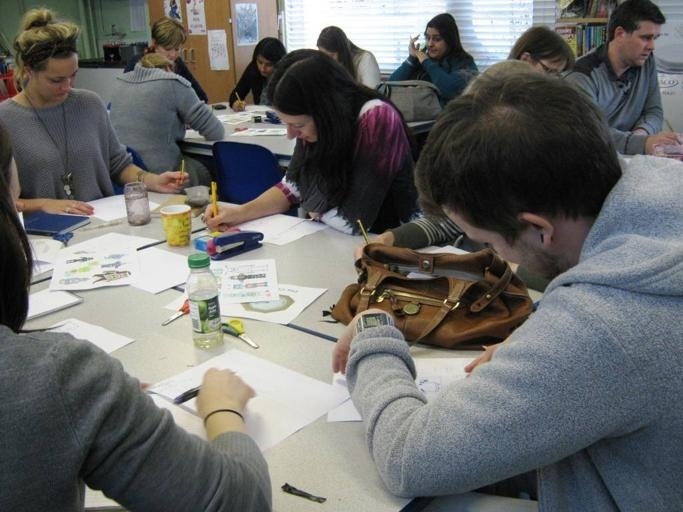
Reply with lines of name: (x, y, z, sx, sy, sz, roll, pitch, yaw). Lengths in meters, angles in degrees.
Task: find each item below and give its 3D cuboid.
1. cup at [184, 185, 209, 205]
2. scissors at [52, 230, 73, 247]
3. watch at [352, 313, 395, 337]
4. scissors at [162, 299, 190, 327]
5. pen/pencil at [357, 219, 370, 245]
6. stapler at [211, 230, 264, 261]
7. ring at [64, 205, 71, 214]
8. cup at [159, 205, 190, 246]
cup: (-0.698, -0.291, 2.446, 0.091, 0.076, 0.112, -1, 16, -6)
scissors: (-1.128, -0.073, 2.077, 0.072, 0.025, 0.056, 27, 38, 36)
watch: (0.075, 0.157, 1.117, 0.054, 0.051, 0.054, -1, -14, -8)
scissors: (-0.488, 0.173, 1.523, 0.044, 0.024, 0.136, 21, 31, 17)
pen/pencil: (0.081, -0.095, 2.069, 0.020, 0.121, 0.018, -25, 2, 36)
stapler: (-0.395, -0.053, 1.985, 0.068, 0.095, 0.265, 8, 21, 36)
ring: (-1.274, -0.211, 2.360, 0.024, 0.010, 0.032, -4, 45, -12)
cup: (-0.644, -0.116, 2.069, 0.146, 0.160, 0.146, -3, 17, 1)
